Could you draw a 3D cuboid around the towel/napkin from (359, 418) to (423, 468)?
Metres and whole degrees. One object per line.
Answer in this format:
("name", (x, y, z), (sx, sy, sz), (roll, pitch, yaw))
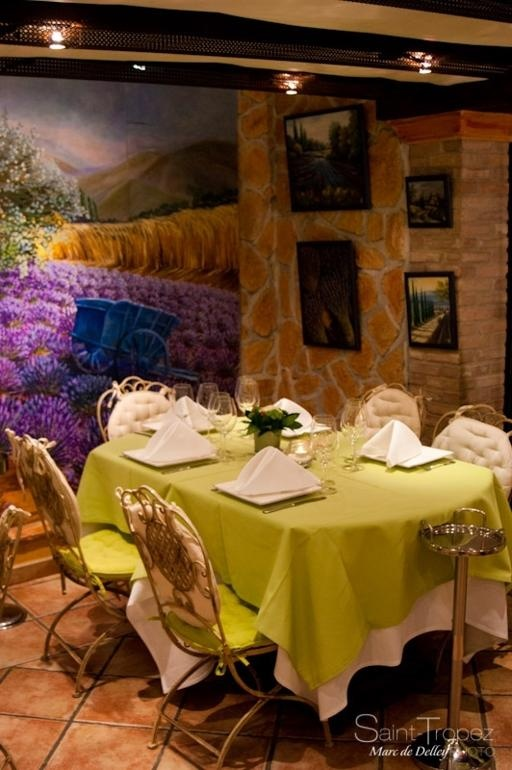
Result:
("towel/napkin", (0.524, 0.216, 2.222), (0.138, 0.117, 0.246), (6, 13, 44))

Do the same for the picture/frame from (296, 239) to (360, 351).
("picture/frame", (0.579, -0.734, 4.453), (0.088, 1.105, 0.835), (-10, 11, -32))

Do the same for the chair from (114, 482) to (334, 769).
("chair", (-0.125, 0.661, 1.625), (0.433, 0.703, 0.427), (-3, 1, -29))

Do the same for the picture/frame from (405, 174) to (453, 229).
("picture/frame", (1.099, -1.201, 3.708), (0.329, 0.320, 0.039), (-10, 16, -20))

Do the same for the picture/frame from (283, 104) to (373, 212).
("picture/frame", (0.514, -1.699, 4.292), (0.761, 0.711, 0.087), (16, 35, 43))

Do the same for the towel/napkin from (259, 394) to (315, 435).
("towel/napkin", (0.198, 0.116, 2.743), (0.185, 0.062, 0.180), (27, 33, 36))

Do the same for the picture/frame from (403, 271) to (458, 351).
("picture/frame", (1.163, -0.505, 3.744), (0.042, 0.582, 0.499), (-10, 12, -34))

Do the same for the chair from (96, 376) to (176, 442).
("chair", (-0.718, 0.142, 3.288), (0.395, 0.463, 0.320), (-6, 14, -22))

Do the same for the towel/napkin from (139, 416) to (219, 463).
("towel/napkin", (-0.336, 0.232, 2.407), (0.365, 0.168, 0.277), (-4, 9, -10))

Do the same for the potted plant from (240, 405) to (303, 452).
("potted plant", (0.058, 0.166, 2.381), (0.201, 0.139, 0.209), (15, 17, 43))
